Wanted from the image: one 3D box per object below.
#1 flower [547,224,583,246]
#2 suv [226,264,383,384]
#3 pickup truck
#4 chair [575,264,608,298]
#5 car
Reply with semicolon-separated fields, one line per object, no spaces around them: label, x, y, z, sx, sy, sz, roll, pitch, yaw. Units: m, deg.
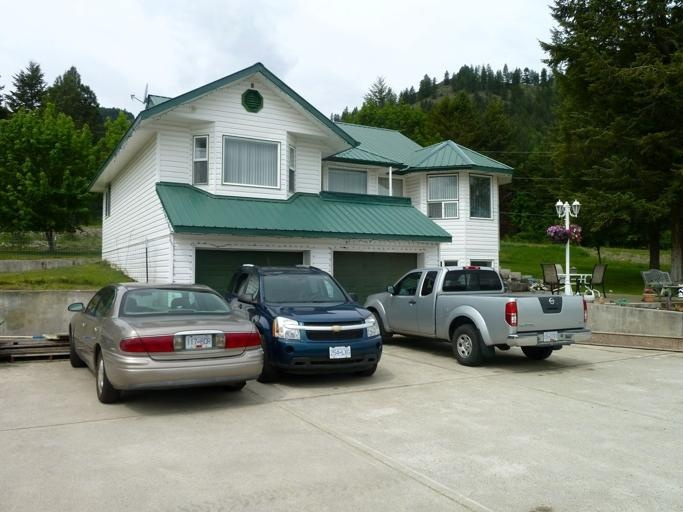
flower;8.208;-0.837;23.136;1.050;0.686;1.070;3;3;36
suv;-0.999;1.212;12.531;1.601;1.523;3.306;1;-5;-26
pickup truck;2.849;1.278;14.357;2.261;1.839;5.118;2;2;-31
chair;11.346;1.138;27.722;1.613;2.258;1.551;0;-1;19
car;-3.155;1.452;10.421;3.466;1.885;1.995;4;6;37
